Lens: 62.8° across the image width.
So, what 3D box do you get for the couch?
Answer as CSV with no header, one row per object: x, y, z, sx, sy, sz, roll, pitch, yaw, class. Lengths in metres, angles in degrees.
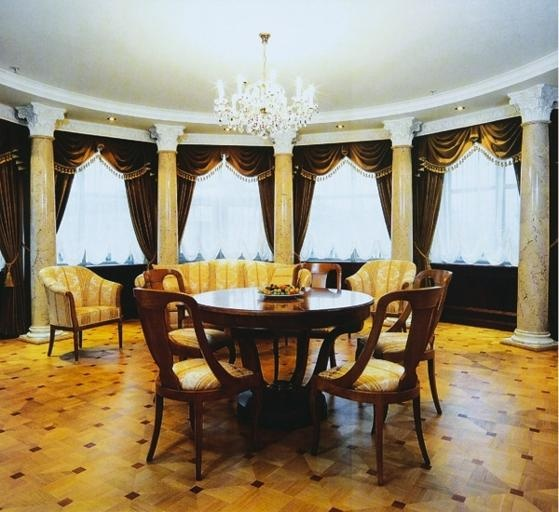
0.525,0.702,3.344,1.306,1.133,1.305,2,5,25,couch

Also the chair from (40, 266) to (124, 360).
-2.319,0.630,5.465,0.924,0.979,0.883,3,6,40,chair
